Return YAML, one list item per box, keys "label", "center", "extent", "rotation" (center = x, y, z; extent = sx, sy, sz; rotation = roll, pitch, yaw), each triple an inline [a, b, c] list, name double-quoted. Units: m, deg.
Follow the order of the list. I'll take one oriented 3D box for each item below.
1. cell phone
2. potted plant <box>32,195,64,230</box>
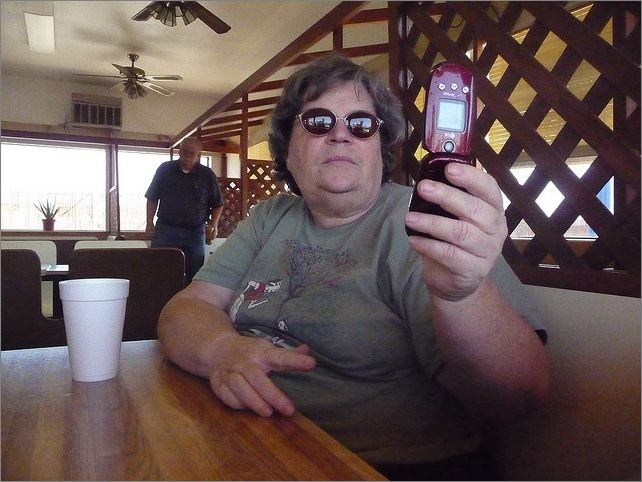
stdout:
- label: "cell phone"
  center: [0.215, -0.200, 0.830]
  extent: [0.100, 0.205, 0.079]
  rotation: [0, 9, 11]
- label: "potted plant"
  center: [-4.720, -0.419, 8.520]
  extent: [0.519, 0.552, 0.498]
  rotation: [-5, -14, 9]
